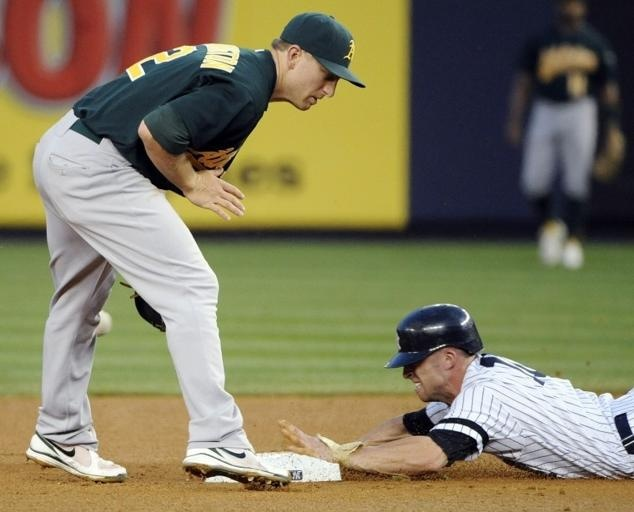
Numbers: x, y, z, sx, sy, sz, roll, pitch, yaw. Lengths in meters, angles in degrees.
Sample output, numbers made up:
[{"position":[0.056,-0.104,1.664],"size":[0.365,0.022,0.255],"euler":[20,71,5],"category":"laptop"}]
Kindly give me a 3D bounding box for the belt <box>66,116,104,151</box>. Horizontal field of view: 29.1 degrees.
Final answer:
[{"position":[-1.306,-0.695,6.771],"size":[0.176,0.136,0.052],"euler":[38,3,2],"category":"belt"}]

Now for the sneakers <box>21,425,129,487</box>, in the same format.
[{"position":[-1.407,1.184,7.187],"size":[0.641,0.256,0.245],"euler":[17,-7,-4],"category":"sneakers"}]

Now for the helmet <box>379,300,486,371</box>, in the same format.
[{"position":[0.679,0.464,7.165],"size":[0.525,0.259,0.340],"euler":[-10,0,-8],"category":"helmet"}]

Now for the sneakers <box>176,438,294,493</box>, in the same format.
[{"position":[-0.449,1.203,6.834],"size":[0.645,0.266,0.232],"euler":[14,-17,-14],"category":"sneakers"}]

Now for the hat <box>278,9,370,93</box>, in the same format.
[{"position":[0.033,-1.194,7.002],"size":[0.511,0.258,0.336],"euler":[31,7,1],"category":"hat"}]
